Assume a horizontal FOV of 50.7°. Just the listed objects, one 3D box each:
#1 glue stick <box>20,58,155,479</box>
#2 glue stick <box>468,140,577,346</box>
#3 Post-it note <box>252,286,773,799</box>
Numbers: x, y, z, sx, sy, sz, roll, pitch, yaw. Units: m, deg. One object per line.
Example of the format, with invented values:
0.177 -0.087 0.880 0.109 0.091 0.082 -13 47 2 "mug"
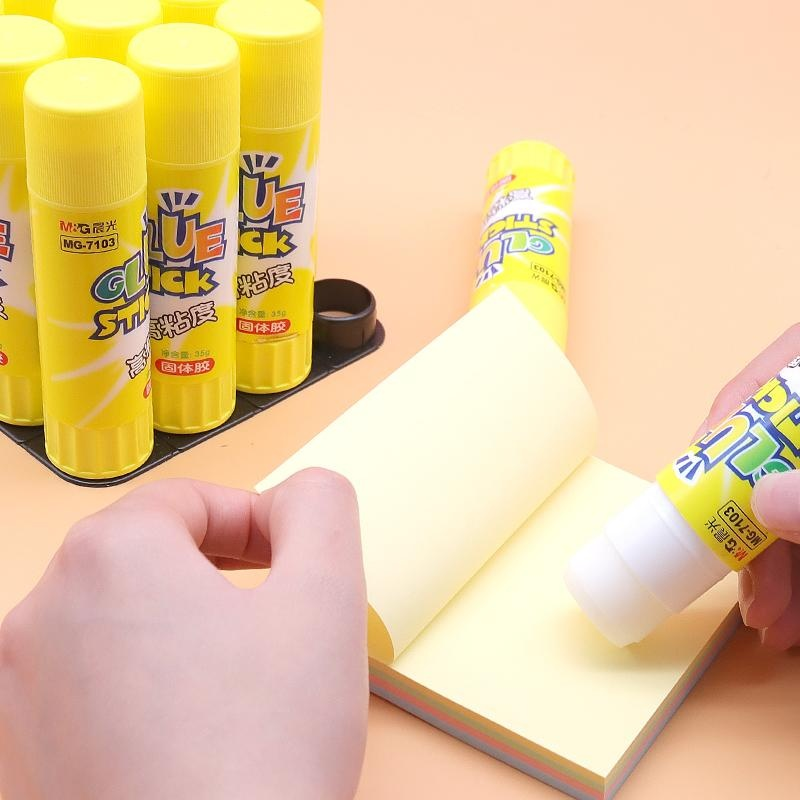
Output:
-0.193 -0.062 0.528 0.080 0.280 0.065 -14 40 -27 "glue stick"
0.112 -0.135 0.771 0.075 0.068 0.227 1 53 9 "glue stick"
0.063 0.084 0.514 0.278 0.097 0.258 32 56 16 "Post-it note"
